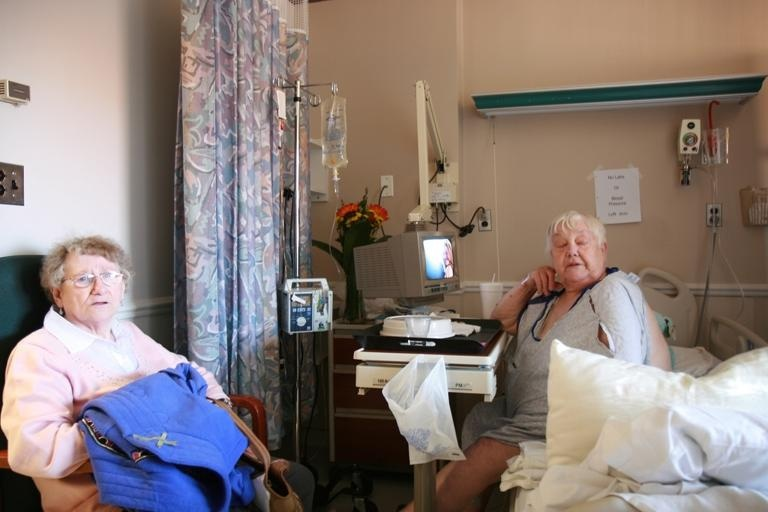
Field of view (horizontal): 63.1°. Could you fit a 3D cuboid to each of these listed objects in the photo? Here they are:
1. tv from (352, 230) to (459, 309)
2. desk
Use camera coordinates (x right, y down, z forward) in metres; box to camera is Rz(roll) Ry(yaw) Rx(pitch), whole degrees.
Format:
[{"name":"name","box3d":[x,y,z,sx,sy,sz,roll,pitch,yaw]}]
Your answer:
[{"name":"tv","box3d":[0.098,0.055,3.243,0.381,0.336,0.403,-2,2,21]},{"name":"desk","box3d":[0.213,0.713,2.810,0.878,0.413,0.931,1,5,9]}]
